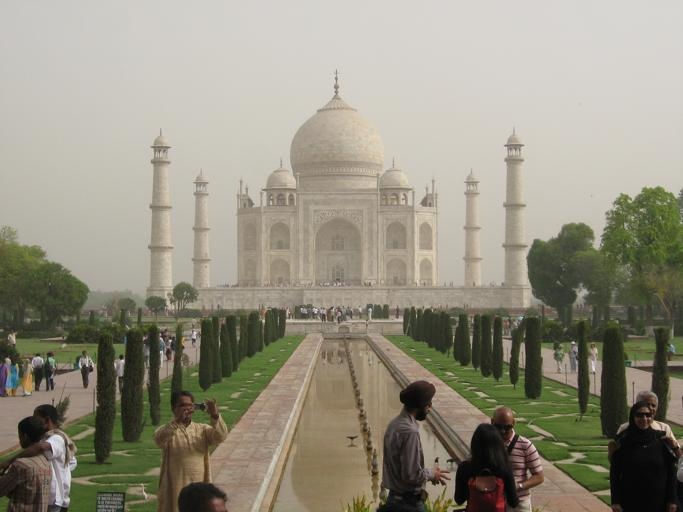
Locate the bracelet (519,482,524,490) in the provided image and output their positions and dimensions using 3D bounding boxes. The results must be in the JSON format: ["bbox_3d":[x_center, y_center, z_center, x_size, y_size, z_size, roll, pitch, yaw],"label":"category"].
[{"bbox_3d":[1.736,2.231,9.453,0.060,0.076,0.043,1,-2,-2],"label":"bracelet"}]
